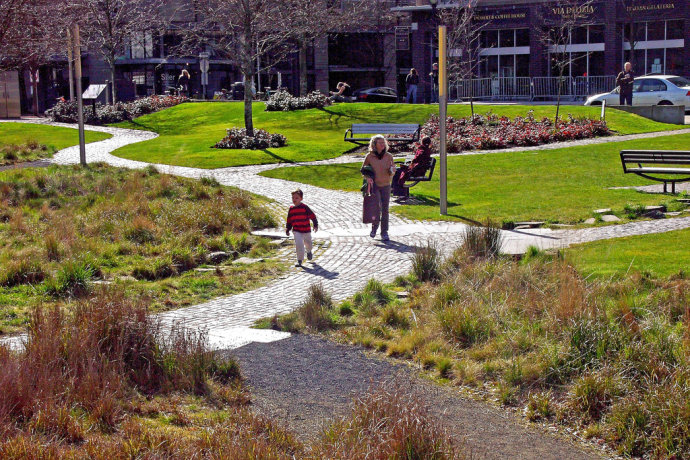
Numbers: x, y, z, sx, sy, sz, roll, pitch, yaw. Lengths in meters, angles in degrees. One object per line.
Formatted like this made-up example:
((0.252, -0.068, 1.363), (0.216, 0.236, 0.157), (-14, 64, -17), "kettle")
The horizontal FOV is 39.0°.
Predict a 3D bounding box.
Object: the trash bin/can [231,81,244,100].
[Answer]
((-6.763, -8.756, 61.761), (0.702, 1.089, 2.762), (0, 7, -3), "trash bin/can")

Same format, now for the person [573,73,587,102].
((12.895, -7.670, 52.764), (0.227, 1.190, 1.084), (3, 2, -16), "person")

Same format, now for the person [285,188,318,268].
((-0.929, -0.070, 21.361), (0.549, 1.793, 0.499), (-9, 20, -19), "person")

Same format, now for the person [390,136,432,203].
((1.878, -1.684, 26.807), (1.045, 1.775, 0.901), (1, 6, 4), "person")

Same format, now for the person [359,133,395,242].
((0.805, -0.974, 22.751), (0.707, 2.404, 0.916), (1, 5, 3), "person")

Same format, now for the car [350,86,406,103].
((2.288, -8.618, 62.960), (3.079, 1.278, 1.455), (-11, 15, -37), "car")

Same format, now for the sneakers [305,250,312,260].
((-0.779, 0.574, 21.402), (0.162, 0.251, 0.552), (-1, 1, -3), "sneakers")

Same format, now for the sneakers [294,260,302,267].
((-0.994, 0.756, 21.026), (0.091, 0.166, 0.141), (0, -1, -29), "sneakers")

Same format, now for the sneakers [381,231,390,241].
((0.967, 0.152, 22.567), (0.191, 0.222, 0.304), (1, 7, 3), "sneakers")
